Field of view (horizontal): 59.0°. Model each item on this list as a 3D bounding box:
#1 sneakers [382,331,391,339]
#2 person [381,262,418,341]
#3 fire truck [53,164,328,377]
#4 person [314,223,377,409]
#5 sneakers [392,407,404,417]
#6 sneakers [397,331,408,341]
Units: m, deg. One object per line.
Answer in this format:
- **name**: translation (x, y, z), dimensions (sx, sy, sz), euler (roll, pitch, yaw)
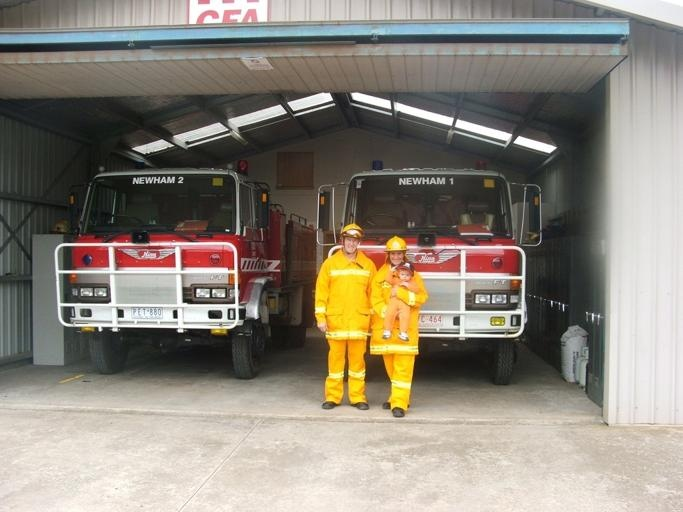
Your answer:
- **sneakers**: translation (0.539, 0.960, 7.444), dimensions (0.100, 0.119, 0.136), euler (1, 5, 3)
- **person**: translation (0.687, 0.564, 7.502), dimensions (0.326, 0.921, 0.373), euler (1, 5, 10)
- **fire truck**: translation (-2.381, 0.196, 9.861), dimensions (2.730, 3.267, 3.448), euler (1, 5, 13)
- **person**: translation (0.026, 0.785, 7.828), dimensions (0.755, 2.371, 0.389), euler (1, 5, 3)
- **sneakers**: translation (0.693, 1.938, 7.554), dimensions (0.160, 0.124, 0.123), euler (1, 5, 4)
- **sneakers**: translation (0.749, 0.982, 7.425), dimensions (0.138, 0.145, 0.132), euler (0, 5, -4)
